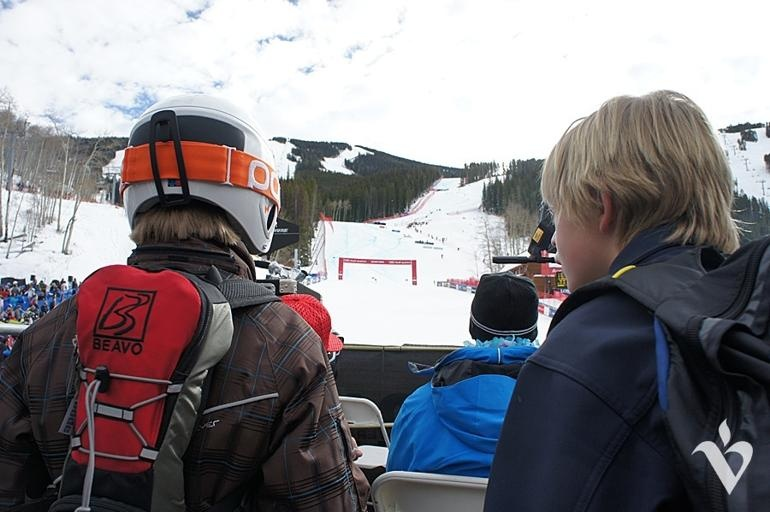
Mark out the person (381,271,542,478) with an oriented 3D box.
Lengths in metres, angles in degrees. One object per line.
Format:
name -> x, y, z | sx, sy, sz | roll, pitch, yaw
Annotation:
person -> 0.469, 0.684, 3.709 | 0.818, 0.985, 1.109 | 7, -13, 5

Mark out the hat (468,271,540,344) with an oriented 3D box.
hat -> 0.757, 0.281, 4.096 | 0.403, 0.420, 0.422 | 4, 4, 14
